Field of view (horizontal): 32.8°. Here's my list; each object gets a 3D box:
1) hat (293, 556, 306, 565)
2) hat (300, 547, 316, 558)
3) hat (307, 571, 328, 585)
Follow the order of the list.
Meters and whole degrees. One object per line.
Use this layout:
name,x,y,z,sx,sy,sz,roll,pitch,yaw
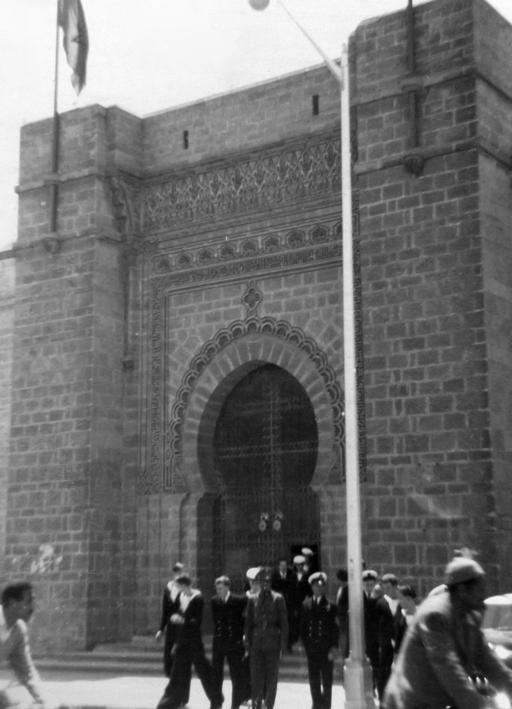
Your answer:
hat,0.585,2.839,12.052,0.119,0.134,0.132,-7,-8,33
hat,0.784,2.996,13.158,0.157,0.116,0.231,0,3,3
hat,0.624,2.364,9.262,0.222,0.148,0.340,1,-17,-10
